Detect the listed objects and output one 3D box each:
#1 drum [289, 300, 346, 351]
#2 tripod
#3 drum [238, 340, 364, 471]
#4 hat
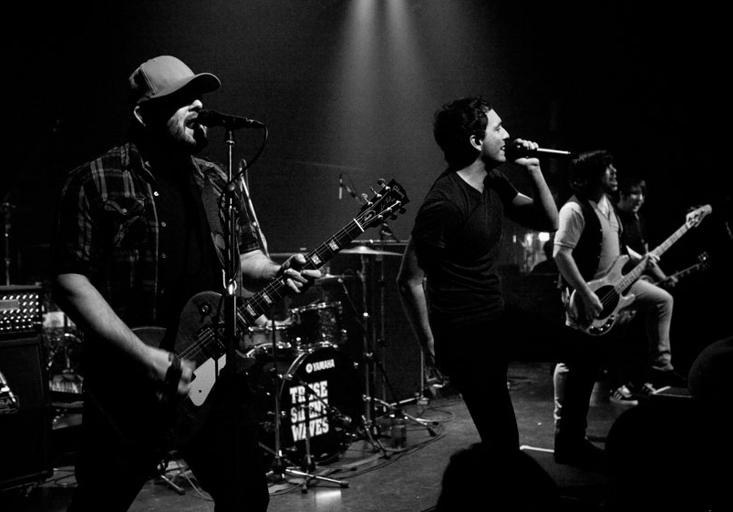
[{"bbox_3d":[-0.450,0.648,6.289,0.518,0.398,0.529,-9,-8,-1],"label":"drum"},{"bbox_3d":[0.021,1.029,7.209,1.844,1.800,1.956,13,-24,-35],"label":"tripod"},{"bbox_3d":[-0.579,1.308,6.063,0.688,1.013,0.944,-4,-4,43],"label":"drum"},{"bbox_3d":[-1.106,-0.996,3.890,0.450,0.241,0.297,-22,4,16],"label":"hat"}]
